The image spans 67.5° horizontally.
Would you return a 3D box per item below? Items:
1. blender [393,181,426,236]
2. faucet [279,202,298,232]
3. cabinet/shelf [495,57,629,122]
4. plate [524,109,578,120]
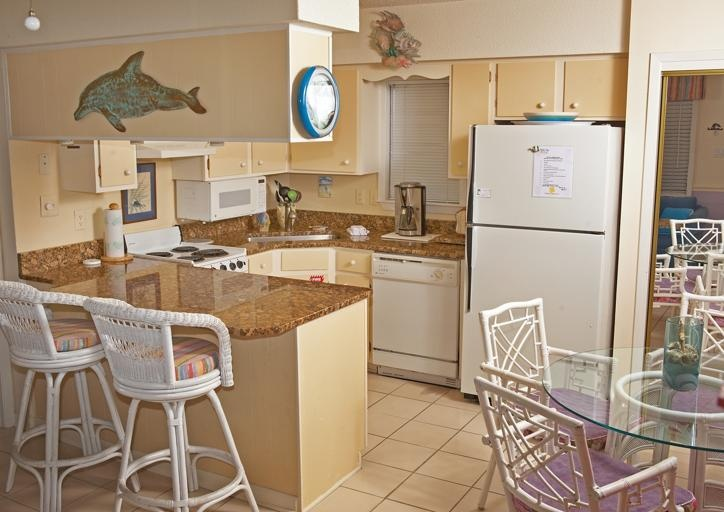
[{"bbox_3d":[0.432,-0.418,4.919,0.300,0.465,0.267,6,14,32],"label":"blender"},{"bbox_3d":[-0.739,-0.391,5.380,0.247,0.273,0.243,-8,18,-27],"label":"faucet"},{"bbox_3d":[1.529,-1.281,4.201,0.943,0.436,0.138,5,14,16],"label":"cabinet/shelf"},{"bbox_3d":[1.438,-1.057,4.105,0.354,0.082,0.352,6,14,21],"label":"plate"}]
